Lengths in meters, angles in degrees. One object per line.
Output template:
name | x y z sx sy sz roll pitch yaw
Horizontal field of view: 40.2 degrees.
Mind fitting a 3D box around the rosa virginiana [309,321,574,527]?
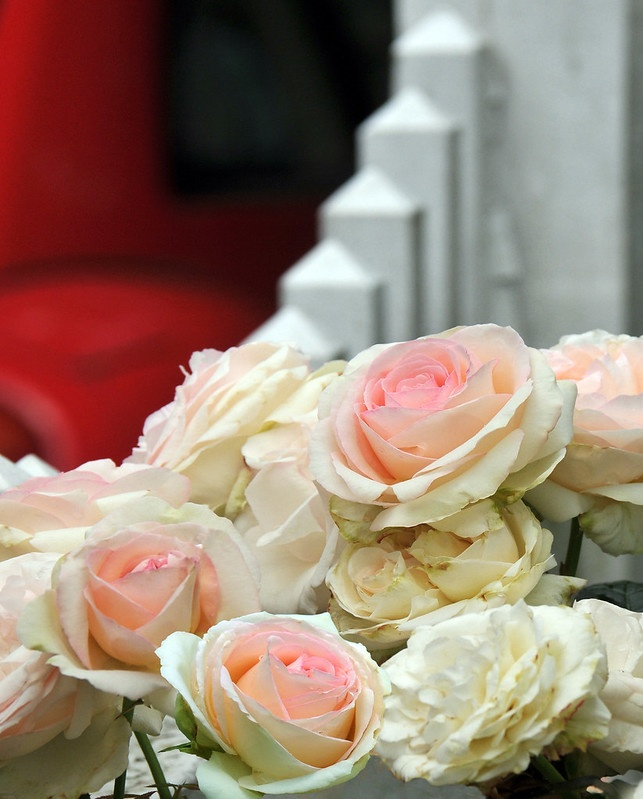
rosa virginiana | 0.061 0.022 0.429 0.119 0.091 0.054 -23 -33 3
